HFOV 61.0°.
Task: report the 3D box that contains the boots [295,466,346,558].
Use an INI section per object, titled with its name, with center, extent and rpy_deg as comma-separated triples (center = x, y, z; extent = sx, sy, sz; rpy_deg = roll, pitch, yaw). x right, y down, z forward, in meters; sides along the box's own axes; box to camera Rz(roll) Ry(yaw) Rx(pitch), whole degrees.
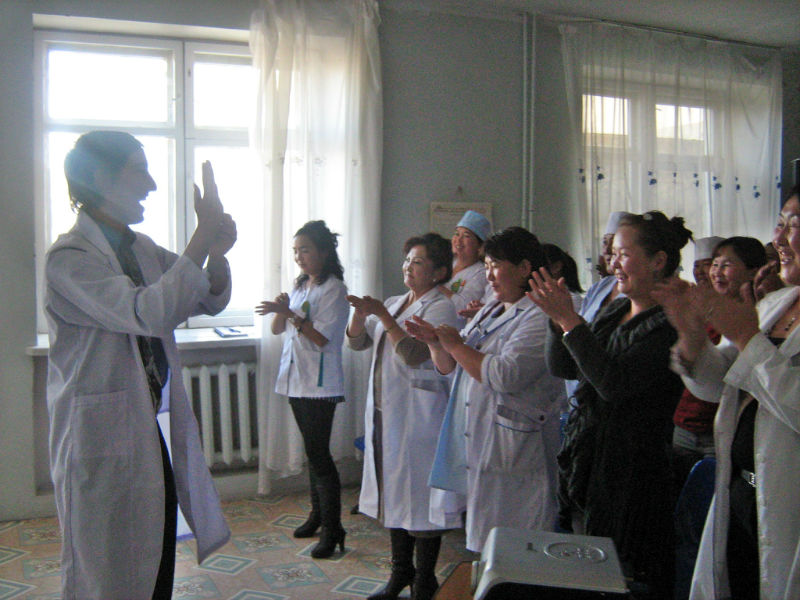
[boots]
center = -0.433, 1.188, 3.742
extent = 0.237, 0.413, 0.422
rpy_deg = 3, -4, -26

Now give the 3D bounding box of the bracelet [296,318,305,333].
[bracelet]
center = -0.515, 0.132, 3.587
extent = 0.044, 0.064, 0.022
rpy_deg = 0, -3, 43

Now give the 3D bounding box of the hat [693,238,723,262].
[hat]
center = 1.744, -0.296, 3.870
extent = 0.194, 0.161, 0.179
rpy_deg = 1, 2, 32
